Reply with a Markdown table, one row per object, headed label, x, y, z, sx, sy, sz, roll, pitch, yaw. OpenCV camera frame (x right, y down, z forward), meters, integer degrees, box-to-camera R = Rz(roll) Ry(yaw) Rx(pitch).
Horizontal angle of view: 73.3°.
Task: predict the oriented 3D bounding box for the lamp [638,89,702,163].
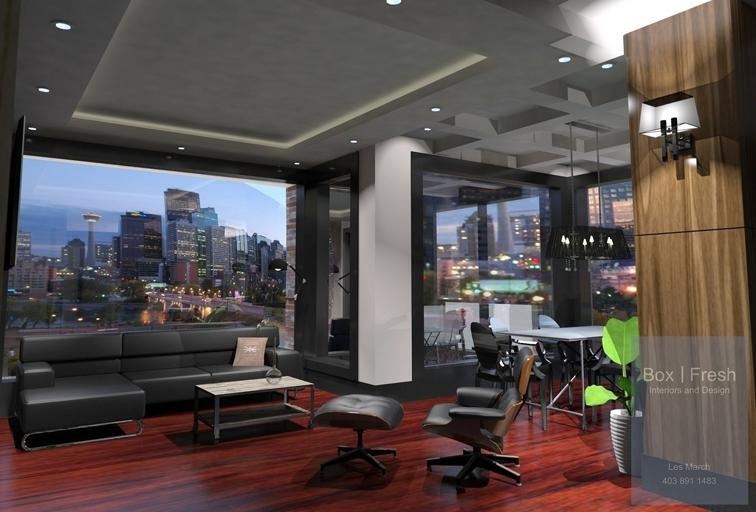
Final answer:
| label | x | y | z | sx | sy | sz | roll | pitch | yaw |
| --- | --- | --- | --- | --- | --- | --- | --- | --- | --- |
| lamp | 2.428 | -1.037 | 4.253 | 0.431 | 0.496 | 0.233 | 2 | 3 | 39 |

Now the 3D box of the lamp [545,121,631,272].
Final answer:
| label | x | y | z | sx | sy | sz | roll | pitch | yaw |
| --- | --- | --- | --- | --- | --- | --- | --- | --- | --- |
| lamp | 3.141 | -0.826 | 7.712 | 1.146 | 1.986 | 2.458 | 1 | 2 | 21 |

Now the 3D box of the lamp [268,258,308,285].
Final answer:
| label | x | y | z | sx | sy | sz | roll | pitch | yaw |
| --- | --- | --- | --- | --- | --- | --- | --- | --- | --- |
| lamp | -1.459 | 0.236 | 8.010 | 0.323 | 0.365 | 0.650 | -2 | -2 | 40 |

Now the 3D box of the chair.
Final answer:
| label | x | y | z | sx | sy | sz | roll | pitch | yaw |
| --- | --- | --- | --- | --- | --- | --- | --- | --- | --- |
| chair | 1.267 | 1.482 | 5.319 | 0.857 | 1.169 | 2.103 | 2 | 2 | 32 |

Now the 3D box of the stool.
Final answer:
| label | x | y | z | sx | sy | sz | roll | pitch | yaw |
| --- | --- | --- | --- | --- | --- | --- | --- | --- | --- |
| stool | -0.184 | 1.727 | 5.012 | 0.728 | 0.485 | 0.724 | 0 | -10 | -1 |
